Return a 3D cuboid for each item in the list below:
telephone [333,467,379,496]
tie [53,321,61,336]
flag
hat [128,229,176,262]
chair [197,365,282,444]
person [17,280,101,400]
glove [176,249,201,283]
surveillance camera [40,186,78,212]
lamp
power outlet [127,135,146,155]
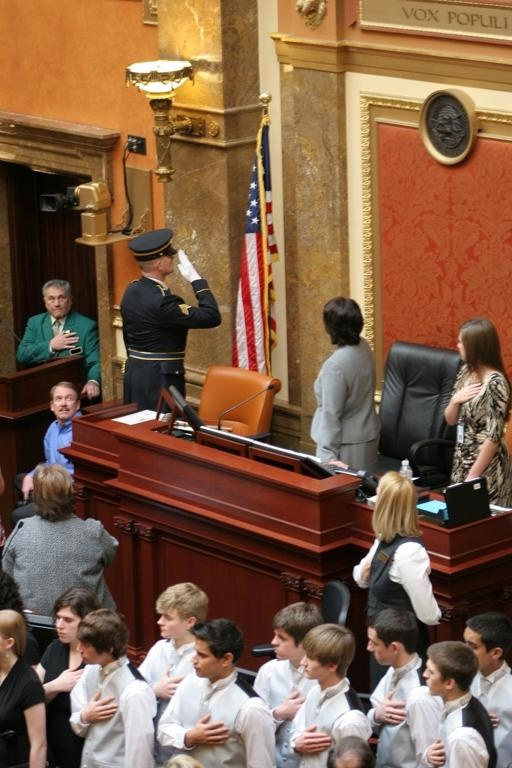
[{"bbox_3d":[0.381,0.371,4.290,0.129,0.044,0.094,17,5,13],"label":"telephone"},{"bbox_3d":[-1.324,-0.379,7.645,0.088,0.079,0.021,3,3,35],"label":"tie"},{"bbox_3d":[0.035,-0.802,6.434,0.304,1.466,0.208,-9,13,-43],"label":"flag"},{"bbox_3d":[-0.539,-0.735,5.998,0.212,0.085,0.183,-9,28,-2],"label":"hat"},{"bbox_3d":[-0.163,0.113,6.080,0.370,0.422,0.407,15,8,23],"label":"chair"},{"bbox_3d":[-1.286,-0.283,7.496,0.549,0.792,0.960,-2,9,-10],"label":"person"},{"bbox_3d":[-0.329,-0.622,6.011,0.065,0.238,0.132,-40,64,-19],"label":"glove"},{"bbox_3d":[-1.258,-1.199,7.360,0.283,0.147,0.238,-4,9,-26],"label":"surveillance camera"},{"bbox_3d":[-0.535,-1.523,6.523,0.334,0.711,0.548,1,9,7],"label":"lamp"},{"bbox_3d":[-0.745,-1.518,7.224,0.110,0.105,0.056,18,28,36],"label":"power outlet"}]
